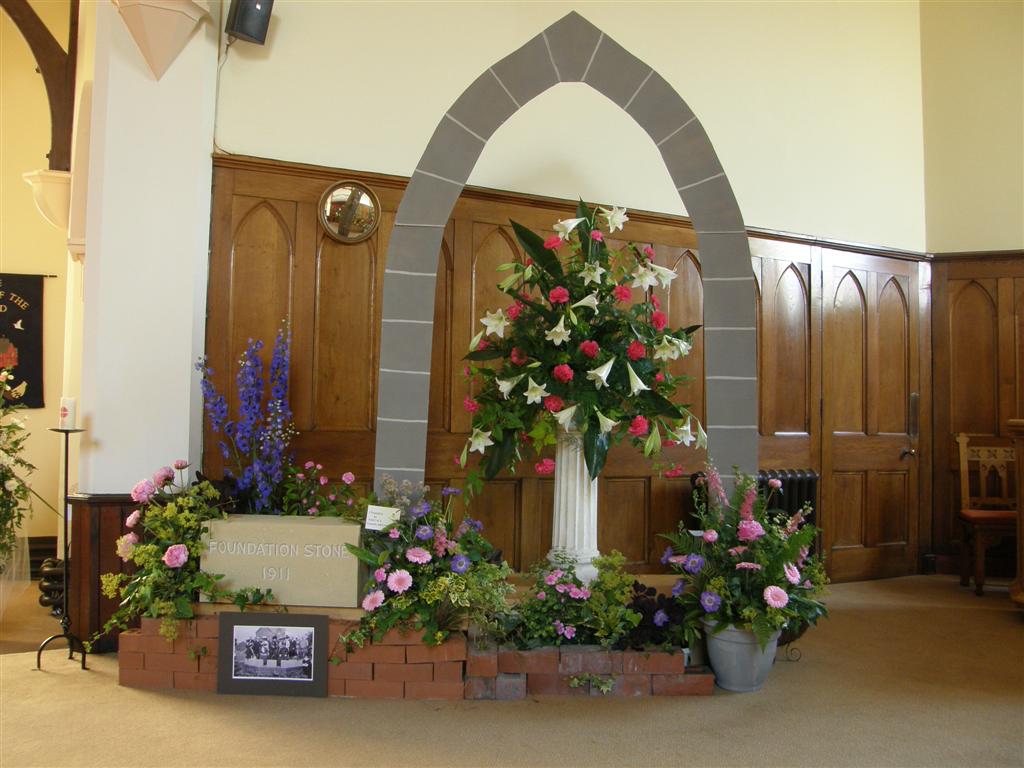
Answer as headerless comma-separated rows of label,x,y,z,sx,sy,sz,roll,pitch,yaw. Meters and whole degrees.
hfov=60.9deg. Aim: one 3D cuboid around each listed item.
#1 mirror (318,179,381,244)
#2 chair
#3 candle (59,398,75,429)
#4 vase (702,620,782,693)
mirror,-1.066,-1.130,5.640,0.317,0.378,0.046,-10,2,-15
chair,3.660,0.978,6.761,0.398,1.157,0.912,3,4,29
candle,-2.508,0.159,4.952,0.063,0.213,0.552,-1,5,-26
vase,1.201,1.392,4.556,0.334,0.312,0.352,-5,-10,34
